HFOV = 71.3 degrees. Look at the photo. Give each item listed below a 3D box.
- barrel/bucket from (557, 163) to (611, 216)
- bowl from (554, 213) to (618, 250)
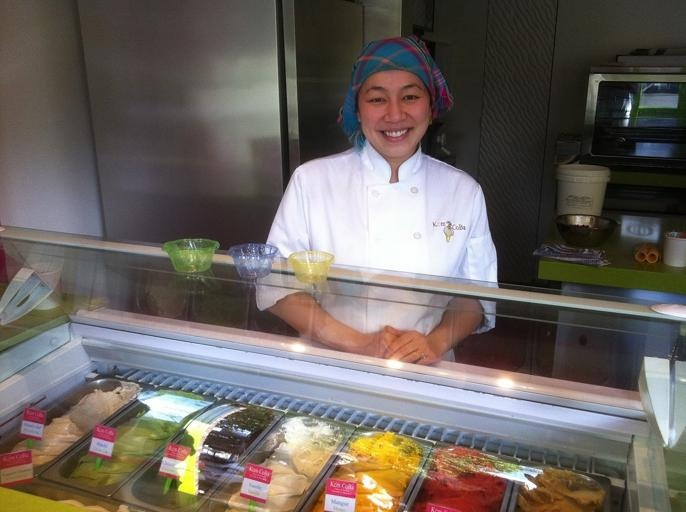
[{"bbox_3d":[1.372,-0.384,2.844,0.312,0.345,0.317,0,10,0],"label":"barrel/bucket"},{"bbox_3d":[1.265,-0.119,2.528,0.327,0.122,0.323,11,-8,2],"label":"bowl"}]
